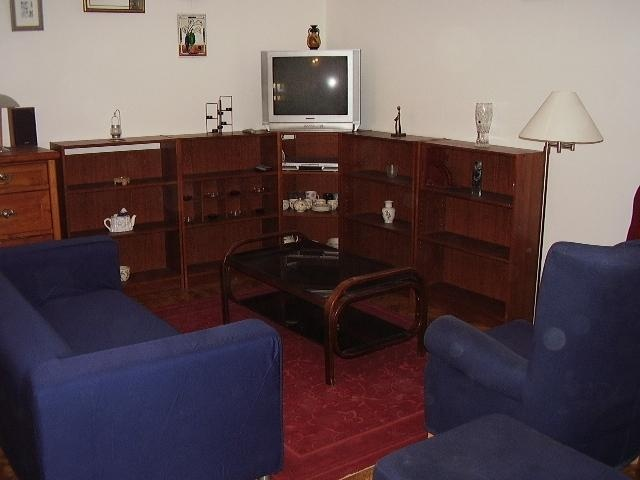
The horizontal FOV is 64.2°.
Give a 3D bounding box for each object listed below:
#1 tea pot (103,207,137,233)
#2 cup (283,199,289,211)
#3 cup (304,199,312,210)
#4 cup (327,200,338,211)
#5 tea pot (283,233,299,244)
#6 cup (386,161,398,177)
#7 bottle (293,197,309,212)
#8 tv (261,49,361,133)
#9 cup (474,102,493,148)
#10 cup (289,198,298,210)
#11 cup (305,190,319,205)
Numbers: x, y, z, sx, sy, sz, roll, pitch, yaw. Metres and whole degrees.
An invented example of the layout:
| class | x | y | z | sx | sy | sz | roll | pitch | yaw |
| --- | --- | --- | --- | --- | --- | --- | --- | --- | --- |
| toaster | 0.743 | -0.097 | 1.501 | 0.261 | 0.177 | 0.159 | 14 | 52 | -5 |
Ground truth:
| class | x | y | z | sx | sy | sz | roll | pitch | yaw |
| --- | --- | --- | --- | --- | --- | --- | --- | --- | --- |
| tea pot | -1.942 | -0.219 | 5.004 | 0.305 | 0.249 | 0.212 | -2 | 15 | -13 |
| cup | -0.389 | -0.406 | 5.886 | 0.092 | 0.102 | 0.095 | 1 | 16 | 0 |
| cup | -0.133 | -0.406 | 5.763 | 0.094 | 0.106 | 0.095 | 0 | 14 | 0 |
| cup | 0.132 | -0.388 | 5.768 | 0.104 | 0.094 | 0.090 | 4 | 8 | 2 |
| tea pot | -0.375 | -0.018 | 5.653 | 0.181 | 0.109 | 0.174 | 0 | 3 | 0 |
| cup | 0.720 | -0.716 | 5.101 | 0.128 | 0.123 | 0.120 | -1 | 15 | 0 |
| bottle | -0.217 | -0.409 | 5.754 | 0.134 | 0.104 | 0.141 | 0 | 19 | 0 |
| tv | -0.075 | -1.589 | 5.836 | 1.333 | 1.156 | 0.778 | 2 | 13 | 6 |
| cup | 1.379 | -0.981 | 4.331 | 0.123 | 0.344 | 0.153 | 2 | 15 | 13 |
| cup | -0.297 | -0.406 | 5.748 | 0.072 | 0.112 | 0.114 | 13 | 22 | 36 |
| cup | -0.087 | -0.473 | 5.835 | 0.106 | 0.168 | 0.178 | -1 | 10 | -3 |
